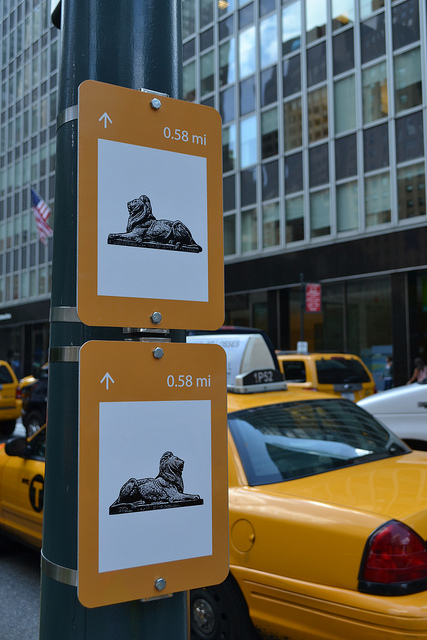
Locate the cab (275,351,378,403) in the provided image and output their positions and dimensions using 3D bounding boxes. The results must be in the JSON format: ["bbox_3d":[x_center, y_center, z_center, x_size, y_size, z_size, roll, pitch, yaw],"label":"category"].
[{"bbox_3d":[2.052,1.111,11.334,1.056,1.099,1.941,1,2,-29],"label":"cab"}]

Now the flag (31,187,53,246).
[{"bbox_3d":[-6.952,-4.291,24.465,0.601,2.187,1.554,0,-3,-21],"label":"flag"}]
